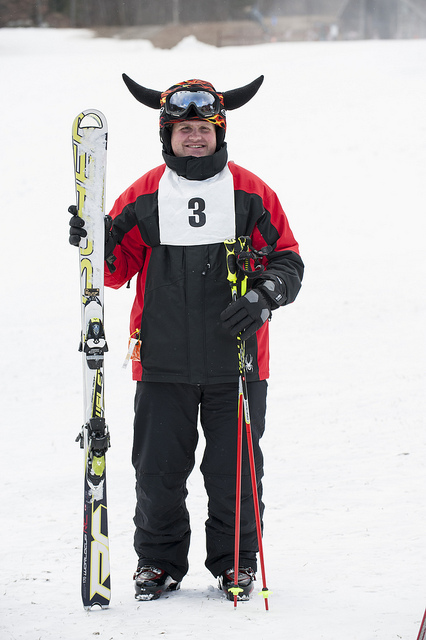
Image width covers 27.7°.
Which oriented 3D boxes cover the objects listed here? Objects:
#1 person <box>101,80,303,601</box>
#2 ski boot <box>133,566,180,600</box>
[{"bbox_3d":[-0.066,0.104,3.849,0.928,2.309,0.569,-5,7,4],"label":"person"},{"bbox_3d":[-0.273,1.163,3.913,0.114,0.085,0.206,2,4,17],"label":"ski boot"}]
